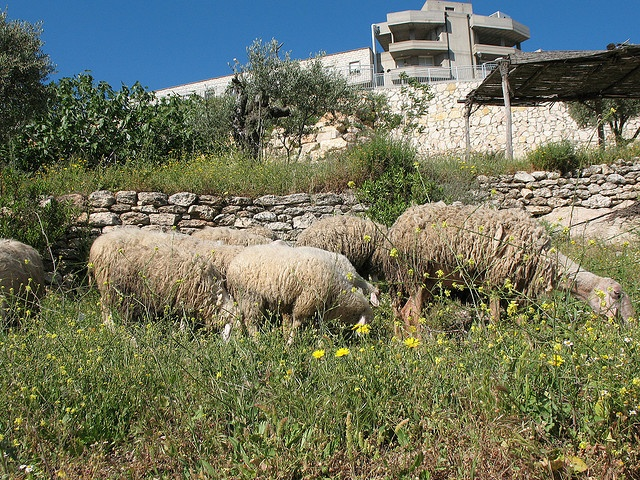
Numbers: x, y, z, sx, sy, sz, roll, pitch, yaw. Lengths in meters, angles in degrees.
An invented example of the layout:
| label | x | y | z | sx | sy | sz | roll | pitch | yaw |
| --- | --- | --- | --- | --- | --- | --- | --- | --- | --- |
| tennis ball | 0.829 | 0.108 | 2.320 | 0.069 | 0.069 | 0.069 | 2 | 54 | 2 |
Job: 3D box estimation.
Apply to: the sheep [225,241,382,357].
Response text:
| label | x | y | z | sx | sy | sz | roll | pitch | yaw |
| --- | --- | --- | --- | --- | --- | --- | --- | --- | --- |
| sheep | -0.236 | 0.583 | 6.178 | 1.506 | 1.092 | 0.661 | -10 | 12 | -12 |

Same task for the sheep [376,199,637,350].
| label | x | y | z | sx | sy | sz | roll | pitch | yaw |
| --- | --- | --- | --- | --- | --- | --- | --- | --- | --- |
| sheep | 1.679 | 0.274 | 6.099 | 3.119 | 1.965 | 1.112 | 3 | 8 | 11 |

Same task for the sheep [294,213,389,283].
| label | x | y | z | sx | sy | sz | roll | pitch | yaw |
| --- | --- | --- | --- | --- | --- | --- | --- | --- | --- |
| sheep | 0.302 | 0.108 | 8.513 | 1.365 | 0.950 | 0.782 | 3 | -2 | -18 |
